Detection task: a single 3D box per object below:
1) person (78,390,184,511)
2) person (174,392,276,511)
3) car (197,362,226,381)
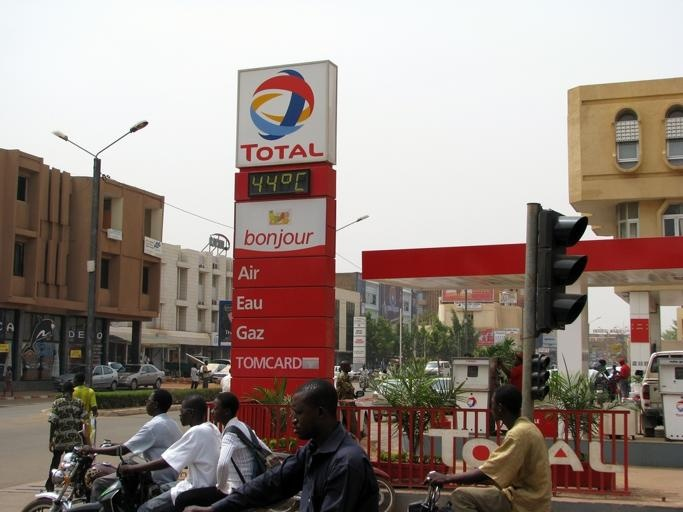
[{"bbox_3d":[-3.021,2.503,10.801,1.606,1.096,1.038,5,-17,-28],"label":"person"},{"bbox_3d":[-1.538,2.297,9.698,1.217,1.668,1.106,0,-15,8],"label":"person"},{"bbox_3d":[-8.994,8.144,58.741,1.214,0.936,2.648,0,2,12],"label":"car"}]
